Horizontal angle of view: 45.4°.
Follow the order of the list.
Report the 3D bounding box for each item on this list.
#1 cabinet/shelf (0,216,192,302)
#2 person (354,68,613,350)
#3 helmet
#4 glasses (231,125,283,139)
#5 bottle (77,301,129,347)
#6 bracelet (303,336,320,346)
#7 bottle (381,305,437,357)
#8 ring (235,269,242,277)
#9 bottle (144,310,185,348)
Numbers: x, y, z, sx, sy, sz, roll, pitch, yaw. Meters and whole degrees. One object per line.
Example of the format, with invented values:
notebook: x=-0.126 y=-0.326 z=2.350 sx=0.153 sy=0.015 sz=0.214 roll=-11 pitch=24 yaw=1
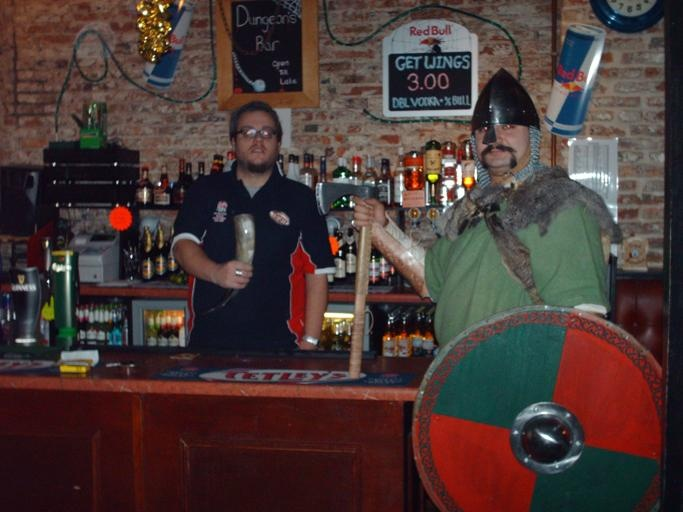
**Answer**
cabinet/shelf: x=-1.527 y=0.109 z=5.103 sx=1.004 sy=0.358 sz=0.709 roll=0 pitch=1 yaw=0
person: x=0.570 y=-0.046 z=3.130 sx=0.696 sy=1.328 sz=1.048 roll=7 pitch=-7 yaw=-43
helmet: x=0.612 y=-0.562 z=3.086 sx=0.221 sy=0.262 sz=0.291 roll=-5 pitch=-4 yaw=45
glasses: x=-0.375 y=-0.542 z=3.649 sx=0.211 sy=0.053 sz=0.106 roll=0 pitch=1 yaw=-8
bottle: x=-1.491 y=0.410 z=5.102 sx=0.329 sy=0.264 sz=0.180 roll=0 pitch=1 yaw=-8
bracelet: x=-0.136 y=0.377 z=3.604 sx=0.065 sy=0.043 sz=0.041 roll=0 pitch=1 yaw=-3
bottle: x=0.409 y=0.448 z=5.000 sx=0.329 sy=0.320 sz=0.316 roll=0 pitch=-5 yaw=4
ring: x=-0.390 y=0.064 z=3.087 sx=0.033 sy=0.031 sz=0.008 roll=-2 pitch=0 yaw=-2
bottle: x=-1.082 y=0.451 z=4.995 sx=0.226 sy=0.222 sz=0.127 roll=0 pitch=-3 yaw=8
